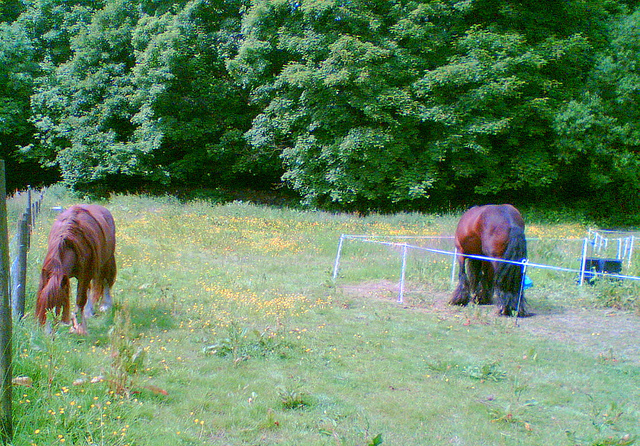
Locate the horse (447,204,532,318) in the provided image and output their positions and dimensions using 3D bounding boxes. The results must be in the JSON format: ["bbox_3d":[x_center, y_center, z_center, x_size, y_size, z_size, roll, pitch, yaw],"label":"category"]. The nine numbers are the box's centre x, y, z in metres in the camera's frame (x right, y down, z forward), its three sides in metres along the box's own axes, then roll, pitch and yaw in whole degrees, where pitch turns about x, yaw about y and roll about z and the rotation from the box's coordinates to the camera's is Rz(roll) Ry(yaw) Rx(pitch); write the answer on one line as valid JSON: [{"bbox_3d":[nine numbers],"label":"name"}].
[{"bbox_3d":[6.333,1.169,30.393,2.230,4.224,6.595,1,-2,-11],"label":"horse"}]
